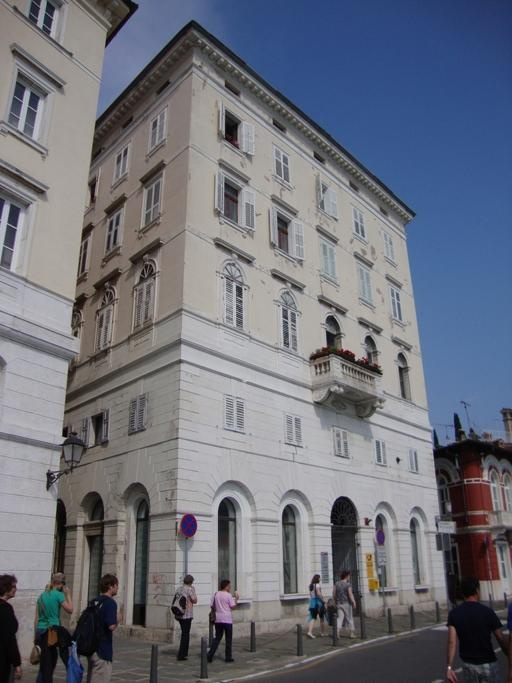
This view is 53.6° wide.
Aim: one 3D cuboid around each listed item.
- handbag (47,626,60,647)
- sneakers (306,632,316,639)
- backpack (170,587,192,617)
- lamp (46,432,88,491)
[{"bbox_3d":[-2.485,3.627,6.186,0.114,0.229,0.261,10,-24,-28],"label":"handbag"},{"bbox_3d":[1.535,8.239,14.228,0.164,0.213,0.482,-7,-24,23],"label":"sneakers"},{"bbox_3d":[-1.590,5.519,10.672,0.317,0.574,0.598,-15,-24,31],"label":"backpack"},{"bbox_3d":[-4.029,2.521,10.720,0.830,1.209,0.478,-7,-26,-6],"label":"lamp"}]
